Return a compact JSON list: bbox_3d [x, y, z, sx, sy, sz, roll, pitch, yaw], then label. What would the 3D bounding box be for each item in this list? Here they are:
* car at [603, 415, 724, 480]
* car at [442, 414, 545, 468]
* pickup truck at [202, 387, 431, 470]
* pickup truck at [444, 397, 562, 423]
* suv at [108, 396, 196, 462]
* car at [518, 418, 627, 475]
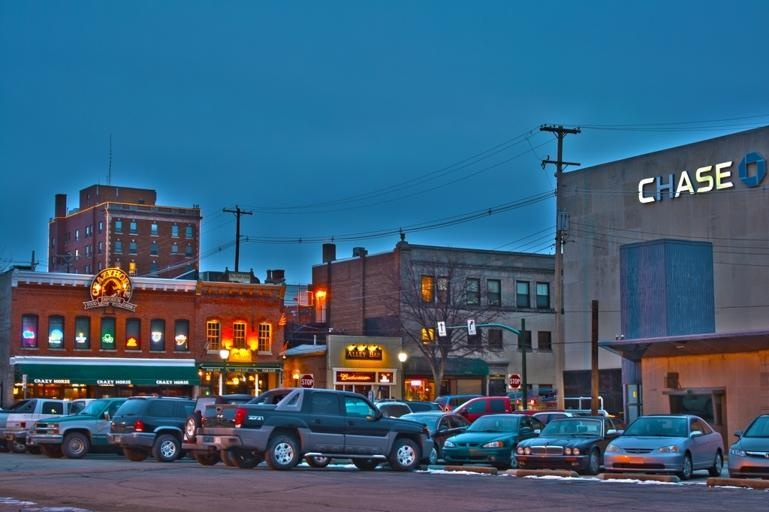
[{"bbox_3d":[11.066,7.386,48.877,2.390,2.141,6.082,-4,-8,33],"label":"car"},{"bbox_3d":[4.487,7.607,52.516,2.024,1.318,3.957,-5,-10,28],"label":"car"},{"bbox_3d":[-2.834,6.774,49.819,7.853,2.604,3.581,1,-4,-28],"label":"pickup truck"},{"bbox_3d":[5.204,7.264,60.705,3.447,1.251,1.720,2,-6,-4],"label":"pickup truck"},{"bbox_3d":[-10.049,7.160,53.041,3.943,1.891,2.294,-2,-1,-36],"label":"suv"},{"bbox_3d":[7.252,7.504,50.613,2.398,1.896,5.744,-1,-3,26],"label":"car"}]
